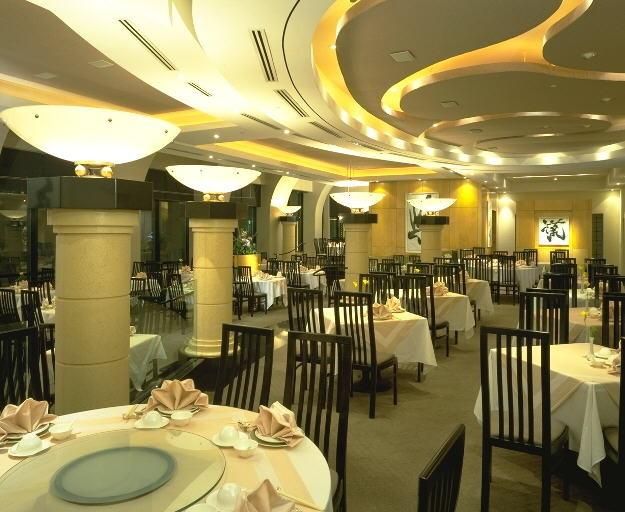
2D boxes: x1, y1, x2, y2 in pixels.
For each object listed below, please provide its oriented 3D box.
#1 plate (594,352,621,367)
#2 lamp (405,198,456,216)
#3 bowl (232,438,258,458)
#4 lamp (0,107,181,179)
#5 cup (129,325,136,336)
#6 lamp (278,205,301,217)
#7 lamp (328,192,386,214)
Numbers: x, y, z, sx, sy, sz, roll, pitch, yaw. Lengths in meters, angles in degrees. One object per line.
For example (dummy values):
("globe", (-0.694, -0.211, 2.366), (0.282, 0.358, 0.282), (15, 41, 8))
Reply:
("plate", (2.079, 0.743, 3.499), (0.121, 0.033, 0.122), (-6, 3, -27))
("lamp", (2.955, -1.124, 12.116), (0.915, 0.340, 0.973), (0, 1, 24))
("bowl", (-0.305, 0.877, 2.279), (0.100, 0.045, 0.096), (0, 5, 0))
("lamp", (-1.299, -0.637, 2.939), (0.974, 0.362, 0.439), (-1, 6, -16))
("cup", (-1.657, 0.701, 4.600), (0.082, 0.096, 0.068), (1, 1, -21))
("lamp", (-0.659, -1.385, 15.882), (0.487, 0.214, 0.504), (-1, 1, -14))
("lamp", (0.802, -0.946, 8.917), (0.755, 0.274, 0.806), (0, 1, 16))
